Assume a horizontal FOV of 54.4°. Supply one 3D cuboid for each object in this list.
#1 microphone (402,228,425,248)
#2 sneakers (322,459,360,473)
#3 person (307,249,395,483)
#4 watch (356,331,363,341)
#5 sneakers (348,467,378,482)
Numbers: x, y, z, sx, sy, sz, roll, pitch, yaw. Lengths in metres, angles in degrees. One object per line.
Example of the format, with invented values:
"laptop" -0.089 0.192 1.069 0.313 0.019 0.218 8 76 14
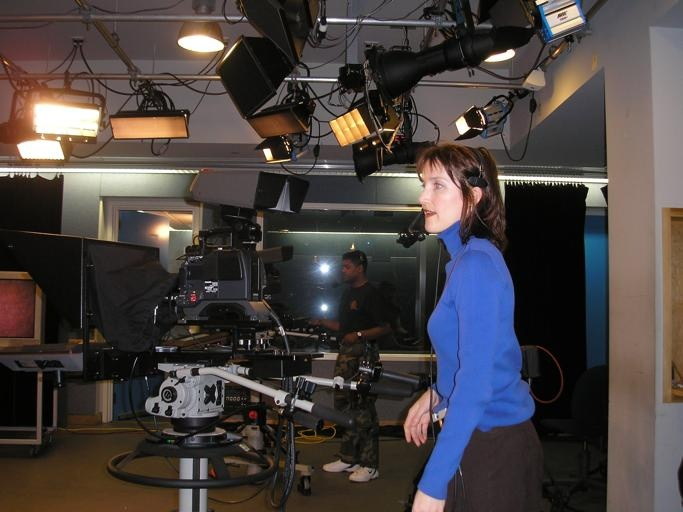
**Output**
"microphone" 0.672 -0.183 6.419 0.277 0.109 0.137 -4 2 45
"sneakers" -0.007 1.929 6.129 0.340 0.147 0.123 4 -12 -4
"person" 0.089 1.098 6.280 0.802 2.370 0.989 18 -33 -22
"watch" 0.162 0.721 6.079 0.061 0.057 0.104 0 -15 3
"sneakers" 0.173 1.942 5.870 0.283 0.123 0.101 12 -20 -36
